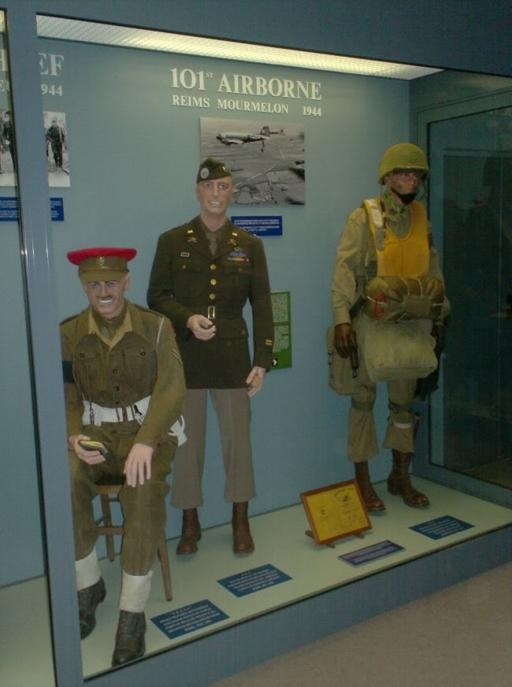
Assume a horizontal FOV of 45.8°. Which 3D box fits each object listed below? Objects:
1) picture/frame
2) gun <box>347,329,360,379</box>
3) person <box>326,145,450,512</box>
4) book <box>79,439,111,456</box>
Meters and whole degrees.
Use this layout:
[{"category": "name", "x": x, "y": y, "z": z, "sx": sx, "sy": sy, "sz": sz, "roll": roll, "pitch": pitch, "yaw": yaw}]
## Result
[{"category": "picture/frame", "x": 0.300, "y": 0.660, "z": 2.364, "sx": 0.303, "sy": 0.211, "sz": 0.151, "roll": -4, "pitch": 3, "yaw": -35}, {"category": "gun", "x": 0.393, "y": 0.050, "z": 2.436, "sx": 0.047, "sy": 0.179, "sz": 0.064, "roll": 1, "pitch": -3, "yaw": -4}, {"category": "person", "x": 0.571, "y": -0.026, "z": 2.523, "sx": 0.382, "sy": 1.516, "sz": 0.558, "roll": 1, "pitch": 4, "yaw": 29}, {"category": "book", "x": -0.463, "y": 0.294, "z": 1.723, "sx": 0.065, "sy": 0.015, "sz": 0.040, "roll": 18, "pitch": -4, "yaw": -3}]
